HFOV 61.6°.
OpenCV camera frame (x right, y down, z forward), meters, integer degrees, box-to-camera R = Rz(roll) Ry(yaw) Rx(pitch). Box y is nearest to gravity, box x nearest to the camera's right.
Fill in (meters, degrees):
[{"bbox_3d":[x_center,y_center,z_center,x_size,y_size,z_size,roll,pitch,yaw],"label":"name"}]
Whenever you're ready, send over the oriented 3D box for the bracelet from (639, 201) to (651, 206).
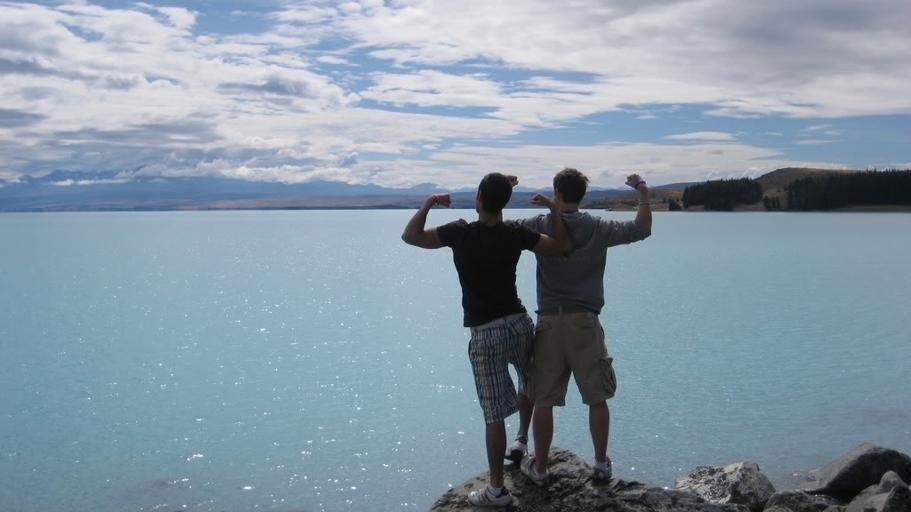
[{"bbox_3d":[6.344,-1.764,25.558,0.249,0.132,0.211,0,-8,0],"label":"bracelet"}]
